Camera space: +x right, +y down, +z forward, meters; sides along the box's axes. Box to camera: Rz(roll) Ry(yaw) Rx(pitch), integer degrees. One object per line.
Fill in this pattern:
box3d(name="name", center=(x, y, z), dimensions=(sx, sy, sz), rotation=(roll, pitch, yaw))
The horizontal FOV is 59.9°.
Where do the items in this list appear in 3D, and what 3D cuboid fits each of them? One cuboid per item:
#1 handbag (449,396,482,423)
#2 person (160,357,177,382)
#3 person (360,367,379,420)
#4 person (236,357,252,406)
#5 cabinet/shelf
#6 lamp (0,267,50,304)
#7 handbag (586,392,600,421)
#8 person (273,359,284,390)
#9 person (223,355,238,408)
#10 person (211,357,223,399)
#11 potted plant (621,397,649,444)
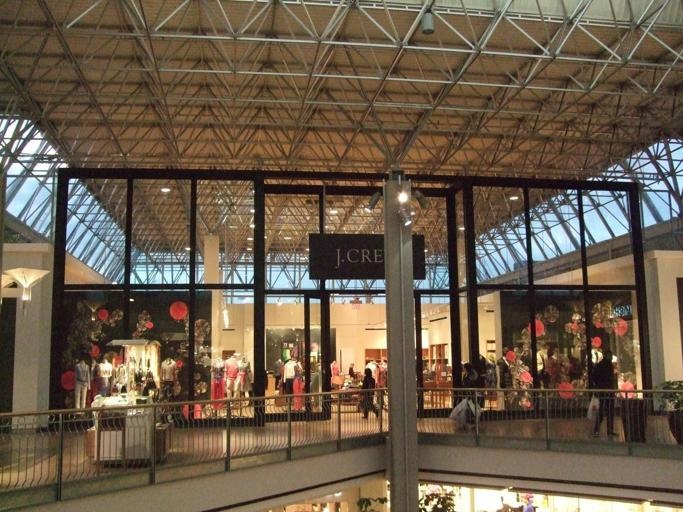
box3d(name="handbag", center=(3.184, 3.961, 15.097), dimensions=(0.701, 0.625, 1.014), rotation=(-3, -12, 0))
box3d(name="person", center=(-4.908, 3.270, 16.780), dimensions=(0.607, 0.881, 0.351), rotation=(0, -3, -16))
box3d(name="person", center=(0.909, 4.152, 18.505), dimensions=(0.414, 1.337, 0.419), rotation=(-1, 19, 9))
box3d(name="person", center=(-2.929, 3.666, 17.882), dimensions=(0.461, 1.166, 0.214), rotation=(0, -11, -10))
box3d(name="cabinet/shelf", center=(-4.850, 3.383, 13.564), dimensions=(1.016, 2.036, 2.090), rotation=(0, -7, -13))
box3d(name="lamp", center=(-8.512, 0.794, 16.012), dimensions=(1.095, 0.805, 1.093), rotation=(1, -11, -38))
box3d(name="handbag", center=(5.855, 3.515, 13.731), dimensions=(0.197, 0.542, 0.586), rotation=(-4, -12, 7))
box3d(name="person", center=(-1.889, 3.604, 18.007), dimensions=(0.305, 0.893, 0.556), rotation=(-1, -12, -6))
box3d(name="person", center=(-3.278, 3.594, 17.785), dimensions=(0.465, 1.290, 0.238), rotation=(5, -13, -31))
box3d(name="person", center=(-3.534, 3.537, 17.120), dimensions=(0.441, 1.157, 0.269), rotation=(7, -14, -37))
box3d(name="potted plant", center=(6.501, 3.649, 13.089), dimensions=(0.502, 0.964, 0.553), rotation=(-6, -12, 16))
